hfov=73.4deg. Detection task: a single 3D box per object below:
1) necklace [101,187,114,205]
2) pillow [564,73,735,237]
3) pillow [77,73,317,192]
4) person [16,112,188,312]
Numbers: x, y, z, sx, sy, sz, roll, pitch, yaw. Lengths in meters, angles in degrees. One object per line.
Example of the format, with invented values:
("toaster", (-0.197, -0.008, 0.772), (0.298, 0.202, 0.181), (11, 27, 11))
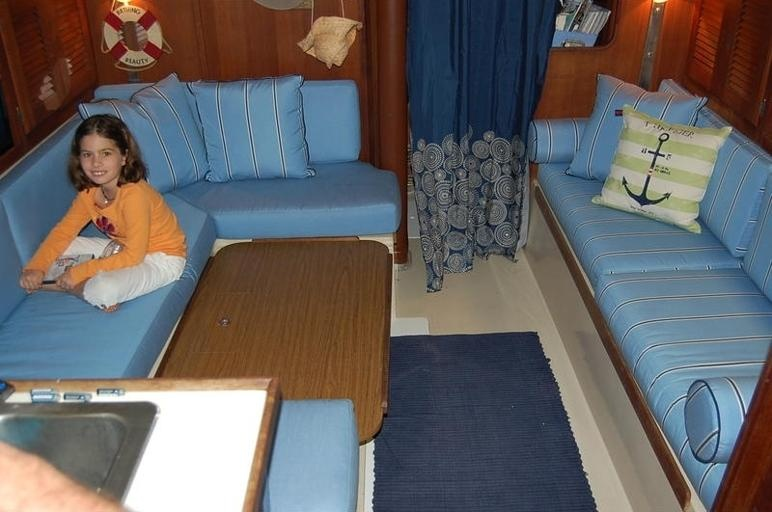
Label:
("necklace", (-1.281, -0.279, 2.408), (0.062, 0.088, 0.032), (4, 12, 14))
("pillow", (1.404, -0.478, 2.645), (0.764, 0.731, 0.227), (26, 15, 39))
("pillow", (-1.021, -0.711, 2.975), (1.028, 0.685, 0.404), (-3, 12, 0))
("person", (-1.290, -0.223, 2.395), (0.750, 0.800, 0.667), (-9, 25, -37))
